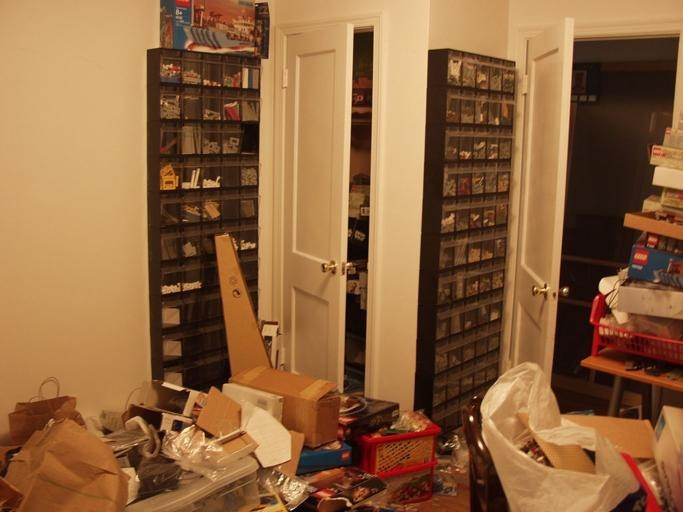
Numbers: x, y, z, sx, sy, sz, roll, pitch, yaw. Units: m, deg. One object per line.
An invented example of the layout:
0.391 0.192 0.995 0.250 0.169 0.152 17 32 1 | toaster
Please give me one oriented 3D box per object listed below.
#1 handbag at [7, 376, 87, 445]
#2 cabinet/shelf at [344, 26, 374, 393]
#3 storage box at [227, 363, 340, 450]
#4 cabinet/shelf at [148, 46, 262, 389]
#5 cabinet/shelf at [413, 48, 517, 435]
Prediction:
-1.346 0.695 2.422 0.302 0.276 0.127 0 0 -37 | handbag
0.117 -0.363 4.108 0.284 2.597 0.939 -2 14 3 | cabinet/shelf
-0.322 0.800 2.885 0.577 0.297 0.197 3 3 31 | storage box
-0.852 -0.190 3.297 0.200 2.067 0.809 8 10 35 | cabinet/shelf
0.791 -0.054 3.492 0.299 2.405 0.971 9 18 38 | cabinet/shelf
